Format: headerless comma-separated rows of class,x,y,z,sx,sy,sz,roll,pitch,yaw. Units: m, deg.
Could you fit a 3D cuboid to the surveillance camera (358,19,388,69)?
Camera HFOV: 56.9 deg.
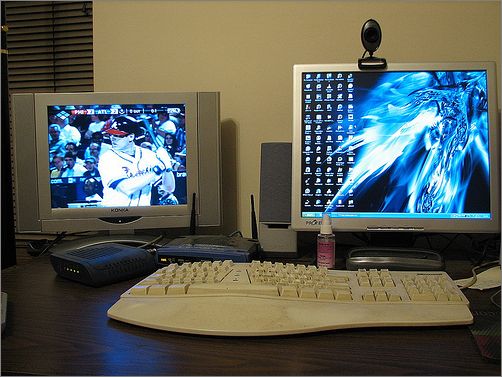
surveillance camera,0.357,-0.410,1.351,0.113,0.140,0.110,4,12,17

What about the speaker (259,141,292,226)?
speaker,0.080,-0.017,1.440,0.097,0.245,0.085,0,7,2

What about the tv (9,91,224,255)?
tv,-0.440,-0.075,1.491,0.678,0.510,0.128,0,8,-11

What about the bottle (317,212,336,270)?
bottle,0.199,0.152,1.250,0.071,0.123,0.067,-1,7,0

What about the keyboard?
keyboard,0.082,0.242,1.067,0.792,0.100,0.268,-1,6,-3

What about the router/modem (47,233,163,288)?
router/modem,-0.379,0.178,1.321,0.276,0.097,0.237,10,9,36

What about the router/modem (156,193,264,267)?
router/modem,-0.109,0.148,1.319,0.171,0.096,0.137,5,8,27
